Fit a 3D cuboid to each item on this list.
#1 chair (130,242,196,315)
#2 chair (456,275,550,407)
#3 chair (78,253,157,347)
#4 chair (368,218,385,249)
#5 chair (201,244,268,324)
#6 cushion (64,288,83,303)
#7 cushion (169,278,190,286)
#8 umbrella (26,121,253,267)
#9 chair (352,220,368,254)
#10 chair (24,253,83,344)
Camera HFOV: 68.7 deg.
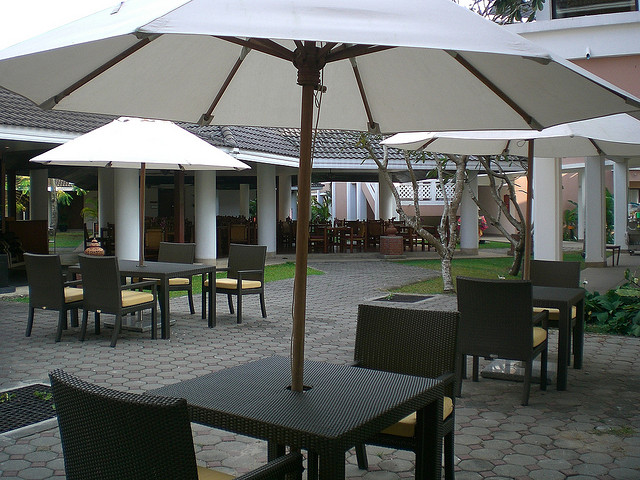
[{"bbox_3d":[-2.677,0.756,8.123,1.055,1.375,1.007,5,7,22],"label":"chair"},{"bbox_3d":[1.864,0.958,4.744,0.999,1.133,0.981,0,1,1],"label":"chair"},{"bbox_3d":[-2.788,0.674,6.556,0.928,1.279,0.874,9,9,33],"label":"chair"},{"bbox_3d":[2.786,-0.448,21.234,0.808,1.314,0.765,3,11,15],"label":"chair"},{"bbox_3d":[-1.449,0.712,7.821,1.002,1.199,0.924,1,2,15],"label":"chair"},{"bbox_3d":[-3.419,0.776,6.415,0.206,0.050,0.220,7,14,17],"label":"cushion"},{"bbox_3d":[-2.362,0.697,7.783,0.235,0.059,0.218,1,5,-9],"label":"cushion"},{"bbox_3d":[-2.860,-0.713,7.422,2.922,1.991,2.907,-3,4,-31],"label":"umbrella"},{"bbox_3d":[1.786,-0.223,20.741,0.643,1.242,1.168,1,-2,7],"label":"chair"},{"bbox_3d":[-3.720,0.802,6.597,0.804,0.828,0.792,-1,0,-25],"label":"chair"}]
